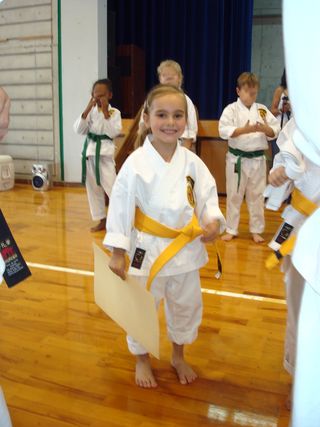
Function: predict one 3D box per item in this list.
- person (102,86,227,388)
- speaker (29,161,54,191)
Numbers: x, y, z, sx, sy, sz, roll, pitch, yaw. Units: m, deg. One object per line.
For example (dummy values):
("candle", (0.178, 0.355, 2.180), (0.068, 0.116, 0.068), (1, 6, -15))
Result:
("person", (0.068, 0.173, 2.837), (0.777, 2.436, 0.869), (0, 15, 2))
("speaker", (-1.710, -0.526, 4.891), (0.278, 0.380, 0.219), (-2, 10, -14))
